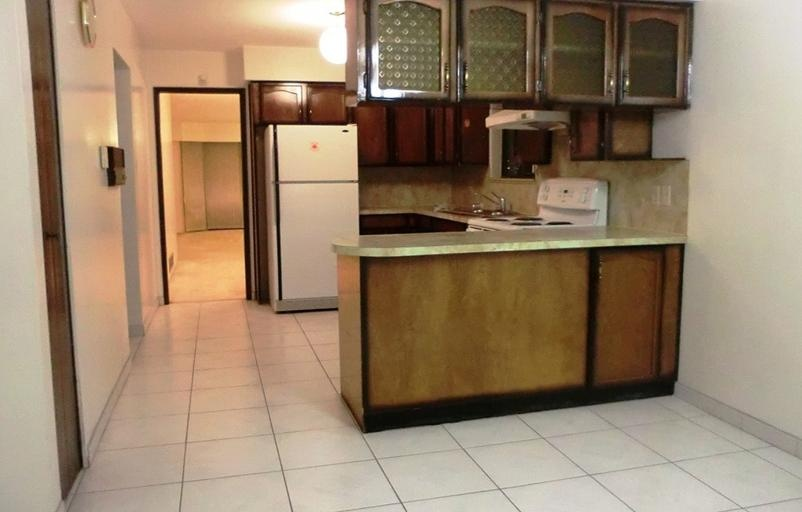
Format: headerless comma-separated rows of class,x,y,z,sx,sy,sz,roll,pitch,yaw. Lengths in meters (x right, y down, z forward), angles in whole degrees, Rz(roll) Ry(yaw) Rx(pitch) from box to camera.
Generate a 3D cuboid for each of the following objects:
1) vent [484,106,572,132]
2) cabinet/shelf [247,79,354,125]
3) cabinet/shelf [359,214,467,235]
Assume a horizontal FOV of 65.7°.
vent,1.195,-1.219,5.532,0.555,0.187,0.856,-3,10,-14
cabinet/shelf,-1.017,-1.668,6.943,1.151,0.441,0.339,5,16,17
cabinet/shelf,0.189,-0.355,7.119,1.236,0.237,0.617,6,12,37
